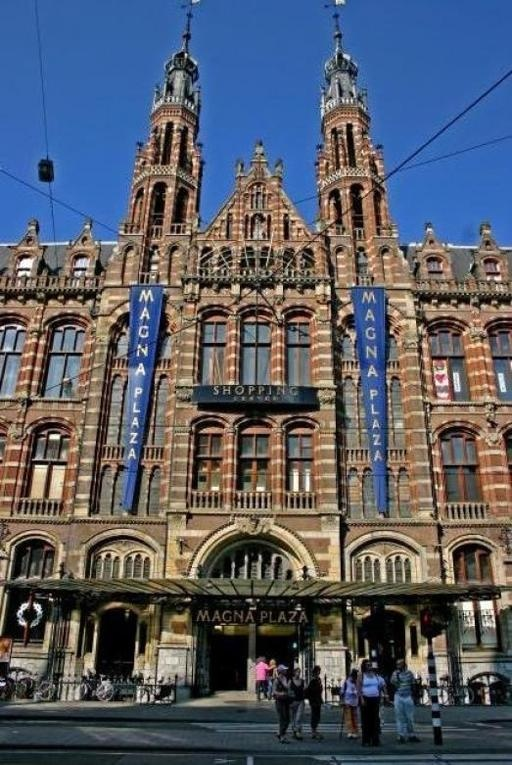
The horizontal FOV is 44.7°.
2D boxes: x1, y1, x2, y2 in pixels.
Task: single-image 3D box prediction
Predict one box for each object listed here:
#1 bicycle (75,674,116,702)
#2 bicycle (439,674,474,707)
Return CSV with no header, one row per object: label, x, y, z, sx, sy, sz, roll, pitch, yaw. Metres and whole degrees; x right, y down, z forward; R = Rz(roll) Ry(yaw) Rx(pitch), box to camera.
bicycle,-5.753,11.109,22.620,1.198,0.864,1.939,7,-26,-12
bicycle,7.361,11.646,23.339,1.506,0.930,0.746,-2,-32,-1
